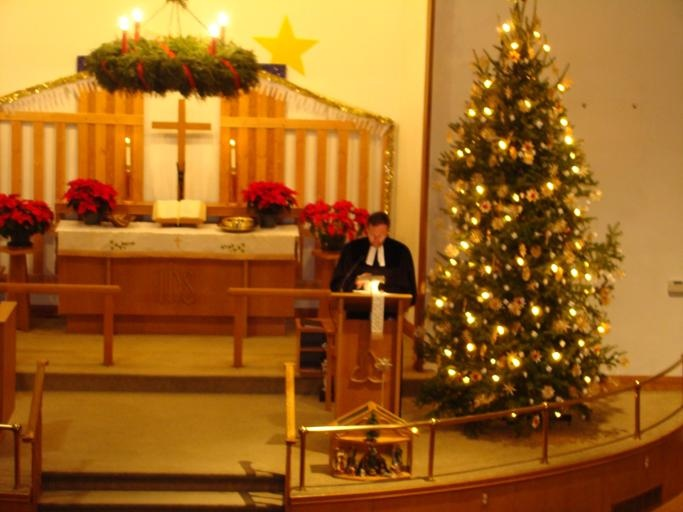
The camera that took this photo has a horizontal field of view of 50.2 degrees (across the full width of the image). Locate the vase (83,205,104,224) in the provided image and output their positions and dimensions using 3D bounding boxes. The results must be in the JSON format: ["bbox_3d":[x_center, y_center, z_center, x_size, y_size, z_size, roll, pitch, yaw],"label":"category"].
[{"bbox_3d":[-2.865,-0.483,8.427,0.195,0.234,0.187,-7,17,-35],"label":"vase"}]

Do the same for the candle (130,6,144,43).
[{"bbox_3d":[-1.711,-1.885,6.047,0.065,0.315,0.338,1,-3,-19],"label":"candle"}]

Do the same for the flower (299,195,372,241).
[{"bbox_3d":[-0.061,-0.425,8.392,0.538,0.321,0.544,2,5,-26],"label":"flower"}]

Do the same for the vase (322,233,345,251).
[{"bbox_3d":[-0.099,-0.149,8.323,0.195,0.155,0.200,0,7,-17],"label":"vase"}]

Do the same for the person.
[{"bbox_3d":[0.303,0.081,6.338,0.757,0.914,0.733,0,-3,-5],"label":"person"}]

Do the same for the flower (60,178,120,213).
[{"bbox_3d":[-2.902,-0.651,8.503,0.451,0.345,0.468,2,3,-2],"label":"flower"}]

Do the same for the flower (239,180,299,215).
[{"bbox_3d":[-0.855,-0.731,8.875,0.717,0.468,0.707,-1,16,-21],"label":"flower"}]

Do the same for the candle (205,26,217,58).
[{"bbox_3d":[-1.058,-1.750,5.959,0.075,0.276,0.177,0,-3,-10],"label":"candle"}]

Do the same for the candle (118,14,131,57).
[{"bbox_3d":[-1.787,-1.776,5.943,0.064,0.341,0.348,1,-3,-17],"label":"candle"}]

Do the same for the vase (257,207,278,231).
[{"bbox_3d":[-0.887,-0.450,8.647,0.216,0.165,0.221,2,-1,-12],"label":"vase"}]

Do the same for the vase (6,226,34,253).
[{"bbox_3d":[-3.640,-0.189,8.234,0.253,0.262,0.258,0,8,-9],"label":"vase"}]
